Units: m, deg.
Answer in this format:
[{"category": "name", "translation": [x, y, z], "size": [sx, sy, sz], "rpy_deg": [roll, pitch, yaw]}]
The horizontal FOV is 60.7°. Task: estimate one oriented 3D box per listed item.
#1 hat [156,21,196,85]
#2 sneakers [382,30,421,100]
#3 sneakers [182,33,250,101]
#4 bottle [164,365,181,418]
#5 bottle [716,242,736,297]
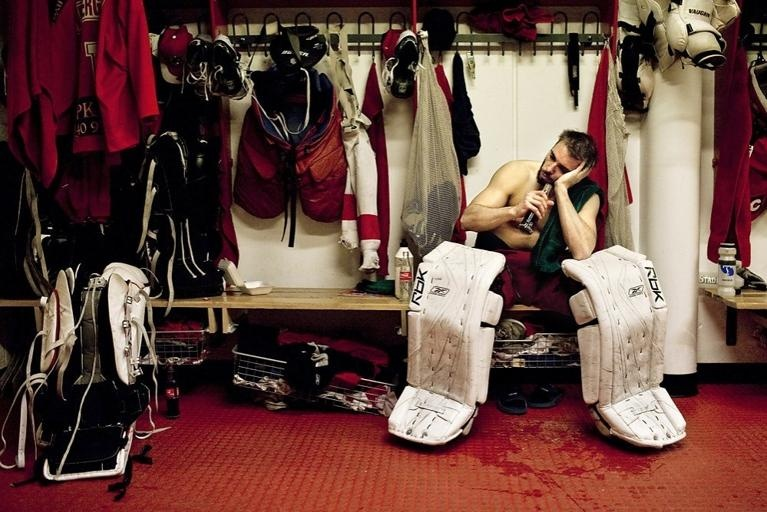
[{"category": "hat", "translation": [-1.276, -1.236, 4.021], "size": [0.220, 0.362, 0.117], "rpy_deg": [0, 13, 0]}, {"category": "sneakers", "translation": [0.096, -1.103, 3.870], "size": [0.153, 0.439, 0.172], "rpy_deg": [2, 16, 7]}, {"category": "sneakers", "translation": [-0.991, -1.100, 3.848], "size": [0.294, 0.412, 0.142], "rpy_deg": [0, 7, 4]}, {"category": "bottle", "translation": [-1.229, 0.749, 3.809], "size": [0.078, 0.282, 0.270], "rpy_deg": [-6, 18, -16]}, {"category": "bottle", "translation": [2.019, 0.076, 3.850], "size": [0.118, 0.292, 0.206], "rpy_deg": [7, 19, 26]}]
